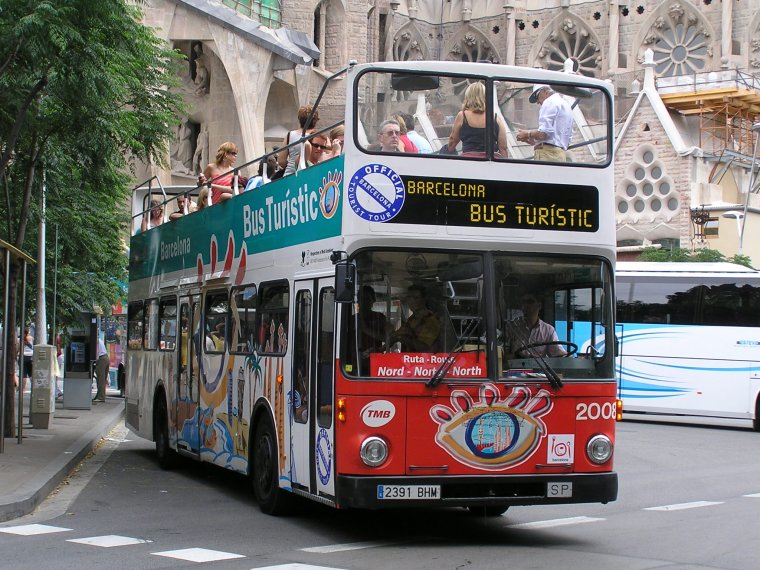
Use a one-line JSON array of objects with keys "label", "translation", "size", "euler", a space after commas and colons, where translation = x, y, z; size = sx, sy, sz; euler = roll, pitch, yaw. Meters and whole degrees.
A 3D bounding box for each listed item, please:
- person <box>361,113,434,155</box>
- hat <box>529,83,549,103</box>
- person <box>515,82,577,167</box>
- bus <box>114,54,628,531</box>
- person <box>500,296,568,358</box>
[{"label": "person", "translation": [0.154, -1.589, 11.264], "size": [0.770, 0.437, 0.234], "euler": [-4, 6, 3]}, {"label": "hat", "translation": [1.755, -2.147, 11.912], "size": [0.072, 0.225, 0.155], "euler": [35, -3, 10]}, {"label": "person", "translation": [1.783, -1.733, 11.695], "size": [0.386, 0.439, 0.906], "euler": [-1, 37, 8]}, {"label": "bus", "translation": [-1.041, 0.204, 16.168], "size": [3.586, 5.132, 10.890], "euler": [3, -5, -26]}, {"label": "person", "translation": [1.553, 0.451, 11.121], "size": [0.920, 0.705, 0.497], "euler": [3, -12, 15]}]
